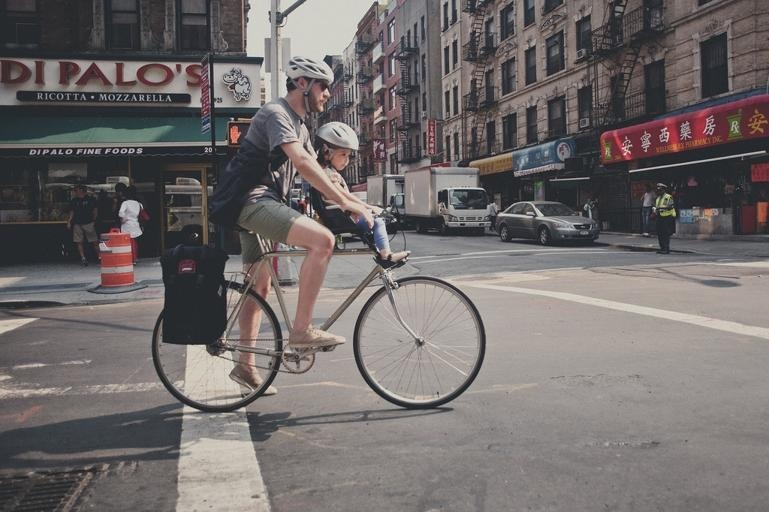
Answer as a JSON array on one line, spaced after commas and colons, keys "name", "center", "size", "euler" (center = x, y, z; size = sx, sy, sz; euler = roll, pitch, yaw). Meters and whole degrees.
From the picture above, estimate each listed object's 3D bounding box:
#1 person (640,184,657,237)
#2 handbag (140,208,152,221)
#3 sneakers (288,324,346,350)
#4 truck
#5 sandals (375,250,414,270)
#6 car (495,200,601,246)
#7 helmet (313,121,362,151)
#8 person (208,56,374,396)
[{"name": "person", "center": [9.960, -1.609, 26.360], "size": [0.415, 1.626, 1.125], "euler": [3, 12, 22]}, {"name": "handbag", "center": [-6.751, -1.178, 19.607], "size": [0.245, 0.337, 0.519], "euler": [-18, 7, -12]}, {"name": "sneakers", "center": [-0.658, 0.768, 6.605], "size": [0.575, 0.233, 0.208], "euler": [-2, 1, -2]}, {"name": "truck", "center": [2.886, -2.713, 32.923], "size": [2.142, 2.523, 4.851], "euler": [-1, 0, -17]}, {"name": "sandals", "center": [0.084, 0.024, 6.676], "size": [0.301, 0.153, 0.121], "euler": [1, 34, 13]}, {"name": "car", "center": [5.693, -1.092, 24.654], "size": [1.431, 1.529, 3.789], "euler": [-6, 12, -25]}, {"name": "helmet", "center": [-0.461, -1.167, 6.803], "size": [0.364, 0.200, 0.263], "euler": [4, 5, 29]}, {"name": "person", "center": [-0.957, -0.207, 6.685], "size": [1.339, 3.322, 0.726], "euler": [1, 11, 9]}]
